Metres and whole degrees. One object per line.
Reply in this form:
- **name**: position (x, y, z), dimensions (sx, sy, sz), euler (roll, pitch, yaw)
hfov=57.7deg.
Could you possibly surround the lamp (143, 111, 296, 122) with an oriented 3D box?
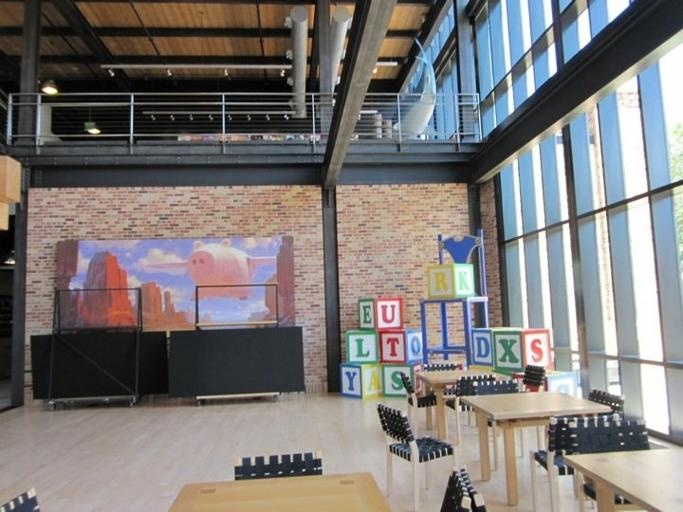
- **lamp**: position (-3.163, -3.541, 15.711), dimensions (2.582, 0.060, 0.128), euler (-3, -31, 9)
